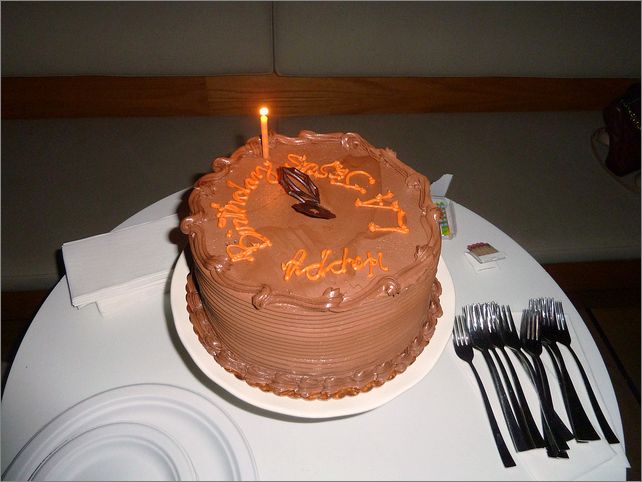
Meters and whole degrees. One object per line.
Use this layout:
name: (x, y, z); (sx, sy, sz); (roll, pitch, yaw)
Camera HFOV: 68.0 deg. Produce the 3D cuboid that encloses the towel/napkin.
towel/napkin: (-1.072, 0.122, 2.599); (0.549, 0.447, 0.141); (-16, -30, -19)
